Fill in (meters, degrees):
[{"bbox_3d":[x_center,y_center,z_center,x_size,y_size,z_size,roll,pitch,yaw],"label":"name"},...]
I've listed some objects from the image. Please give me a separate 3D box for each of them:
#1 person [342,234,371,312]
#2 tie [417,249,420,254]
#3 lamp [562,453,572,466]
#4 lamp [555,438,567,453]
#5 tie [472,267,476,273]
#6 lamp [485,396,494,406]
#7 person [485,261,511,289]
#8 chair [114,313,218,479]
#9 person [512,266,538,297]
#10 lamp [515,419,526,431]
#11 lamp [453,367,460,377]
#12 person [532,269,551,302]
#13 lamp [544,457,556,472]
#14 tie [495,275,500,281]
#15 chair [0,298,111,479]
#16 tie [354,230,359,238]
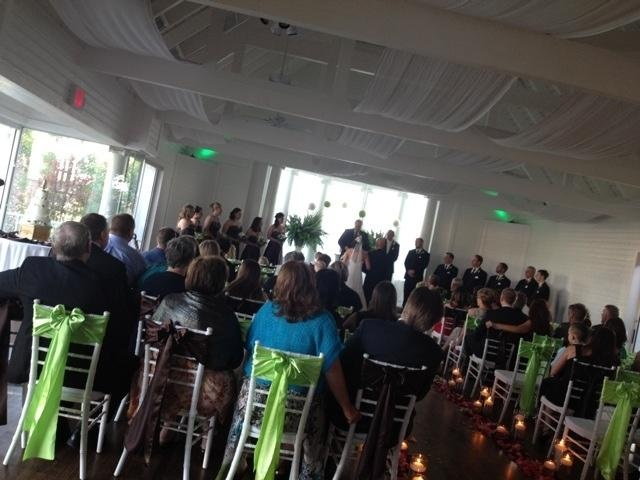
[{"bbox_3d":[0.926,0.735,11.459,0.829,2.135,0.684,8,39,8],"label":"person"},{"bbox_3d":[2.746,0.286,11.929,0.085,0.086,0.022,3,-43,5],"label":"tie"},{"bbox_3d":[2.399,2.136,4.155,0.082,0.089,0.087,-1,-9,23],"label":"lamp"},{"bbox_3d":[2.408,2.045,4.284,0.111,0.139,0.113,5,3,41],"label":"lamp"},{"bbox_3d":[4.231,0.824,11.696,0.024,0.105,0.081,35,-9,-16],"label":"tie"},{"bbox_3d":[2.095,1.985,5.269,0.077,0.087,0.081,-3,2,-19],"label":"lamp"},{"bbox_3d":[4.952,0.954,11.784,0.346,1.154,0.491,33,-21,-20],"label":"person"},{"bbox_3d":[-1.072,1.145,3.167,0.654,1.191,0.647,12,-2,-37],"label":"chair"},{"bbox_3d":[5.235,1.021,10.834,0.369,1.130,0.503,25,-19,-31],"label":"person"},{"bbox_3d":[2.267,2.074,4.808,0.100,0.124,0.108,1,-1,6],"label":"lamp"},{"bbox_3d":[2.013,1.934,6.278,0.103,0.085,0.110,-2,3,-6],"label":"lamp"},{"bbox_3d":[5.560,1.080,10.633,0.386,0.739,1.540,10,-3,28],"label":"person"},{"bbox_3d":[2.230,2.177,4.136,0.087,0.066,0.087,7,-5,-40],"label":"lamp"},{"bbox_3d":[4.774,1.005,11.445,0.025,0.108,0.108,-1,33,-39],"label":"tie"},{"bbox_3d":[-1.817,1.012,3.116,0.633,1.320,0.623,11,-1,-4],"label":"chair"},{"bbox_3d":[0.997,-0.172,11.377,0.123,0.240,0.124,-1,-6,13],"label":"tie"}]
